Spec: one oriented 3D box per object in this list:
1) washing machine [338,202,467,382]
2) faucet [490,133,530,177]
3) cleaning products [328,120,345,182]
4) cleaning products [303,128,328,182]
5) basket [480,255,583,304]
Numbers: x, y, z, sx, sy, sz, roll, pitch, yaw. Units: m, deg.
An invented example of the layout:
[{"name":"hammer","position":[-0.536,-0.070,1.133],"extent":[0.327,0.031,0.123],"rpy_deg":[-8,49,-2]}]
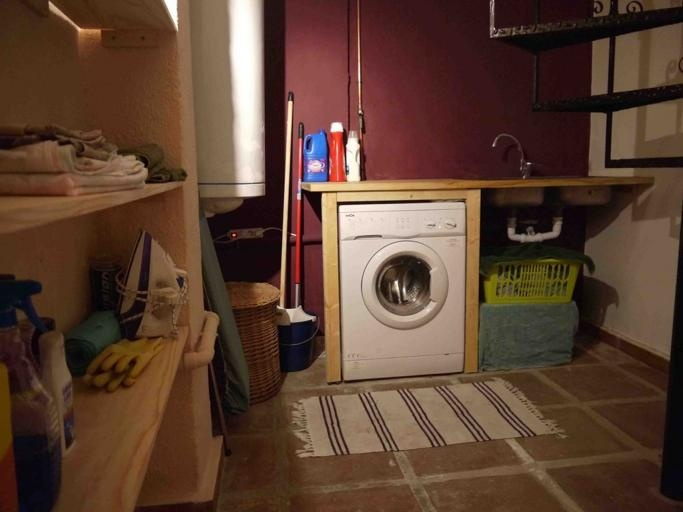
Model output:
[{"name":"washing machine","position":[0.358,0.099,3.293],"extent":[0.688,1.043,0.737],"rpy_deg":[-3,20,0]},{"name":"faucet","position":[1.153,-0.664,3.557],"extent":[0.262,0.340,0.143],"rpy_deg":[2,-8,3]},{"name":"cleaning products","position":[-0.024,-0.655,3.315],"extent":[0.106,0.349,0.183],"rpy_deg":[-1,11,-2]},{"name":"cleaning products","position":[-0.160,-0.617,3.251],"extent":[0.153,0.307,0.122],"rpy_deg":[0,11,3]},{"name":"basket","position":[1.101,0.156,3.100],"extent":[0.392,0.173,0.320],"rpy_deg":[-1,-4,-1]}]
